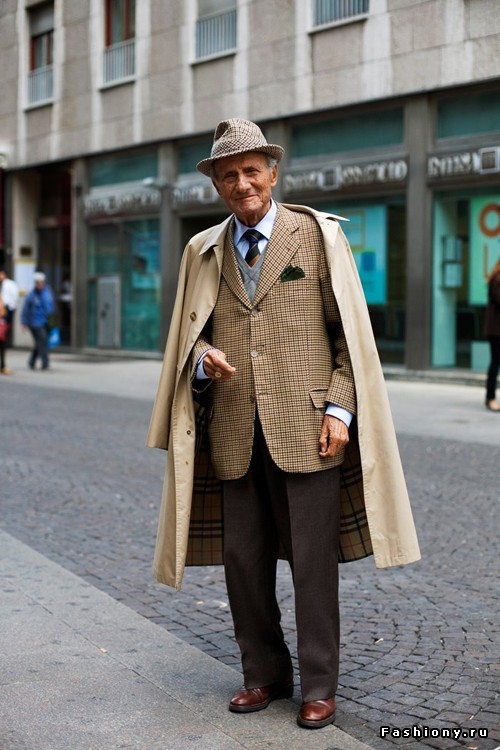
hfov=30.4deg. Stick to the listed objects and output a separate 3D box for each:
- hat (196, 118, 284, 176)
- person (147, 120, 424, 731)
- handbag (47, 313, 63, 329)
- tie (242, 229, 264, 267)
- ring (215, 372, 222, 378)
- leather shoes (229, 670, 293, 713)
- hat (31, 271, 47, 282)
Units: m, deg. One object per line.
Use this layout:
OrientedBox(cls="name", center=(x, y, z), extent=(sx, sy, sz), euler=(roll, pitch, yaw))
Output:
OrientedBox(cls="hat", center=(-0.033, -0.620, 2.496), extent=(0.160, 0.085, 0.167), euler=(-8, -8, 2))
OrientedBox(cls="person", center=(0.070, 0.111, 2.567), extent=(0.696, 1.555, 0.417), euler=(-1, 0, 36))
OrientedBox(cls="handbag", center=(-0.794, -0.220, 3.756), extent=(0.040, 0.041, 0.098), euler=(9, 34, -12))
OrientedBox(cls="tie", center=(0.006, -0.347, 2.545), extent=(0.060, 0.095, 0.025), euler=(11, -5, 18))
OrientedBox(cls="ring", center=(-0.086, 0.000, 2.448), extent=(0.010, 0.014, 0.007), euler=(-2, 6, 9))
OrientedBox(cls="leather shoes", center=(0.041, 0.877, 2.547), extent=(0.062, 0.092, 0.204), euler=(-9, -11, 39))
OrientedBox(cls="hat", center=(-0.844, -0.394, 3.703), extent=(0.031, 0.039, 0.040), euler=(0, -43, 1))
